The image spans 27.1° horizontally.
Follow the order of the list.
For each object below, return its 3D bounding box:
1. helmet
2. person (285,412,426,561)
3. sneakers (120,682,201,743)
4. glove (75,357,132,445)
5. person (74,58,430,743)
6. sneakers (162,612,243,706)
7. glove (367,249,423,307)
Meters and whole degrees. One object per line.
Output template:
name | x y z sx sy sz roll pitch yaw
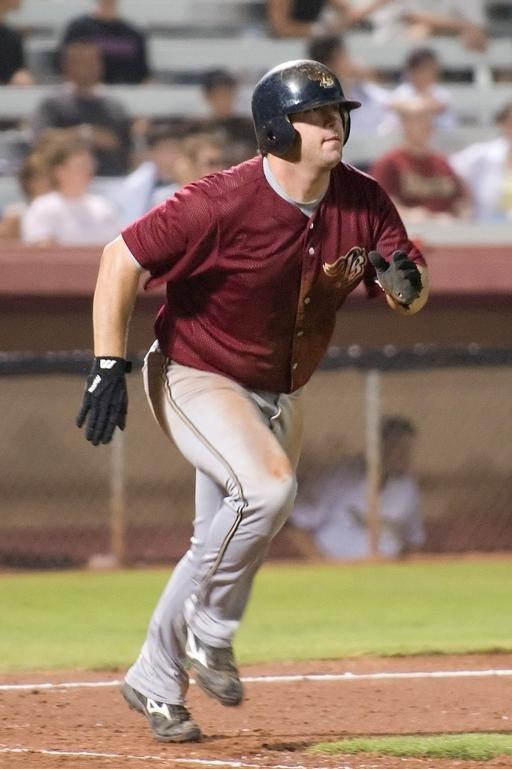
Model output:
helmet | 0.120 -0.662 2.553 0.257 0.248 0.231 3 10 -3
person | 0.642 0.576 5.582 0.587 0.262 0.803 -24 -8 42
sneakers | -0.226 0.839 2.692 0.253 0.103 0.087 18 11 35
glove | -0.360 0.039 2.472 0.168 0.191 0.060 4 7 -8
person | -0.019 0.048 2.613 0.810 1.686 0.585 4 11 1
sneakers | -0.104 0.674 2.552 0.088 0.093 0.241 7 17 -43
glove | 0.336 -0.249 2.564 0.129 0.143 0.189 6 10 16
